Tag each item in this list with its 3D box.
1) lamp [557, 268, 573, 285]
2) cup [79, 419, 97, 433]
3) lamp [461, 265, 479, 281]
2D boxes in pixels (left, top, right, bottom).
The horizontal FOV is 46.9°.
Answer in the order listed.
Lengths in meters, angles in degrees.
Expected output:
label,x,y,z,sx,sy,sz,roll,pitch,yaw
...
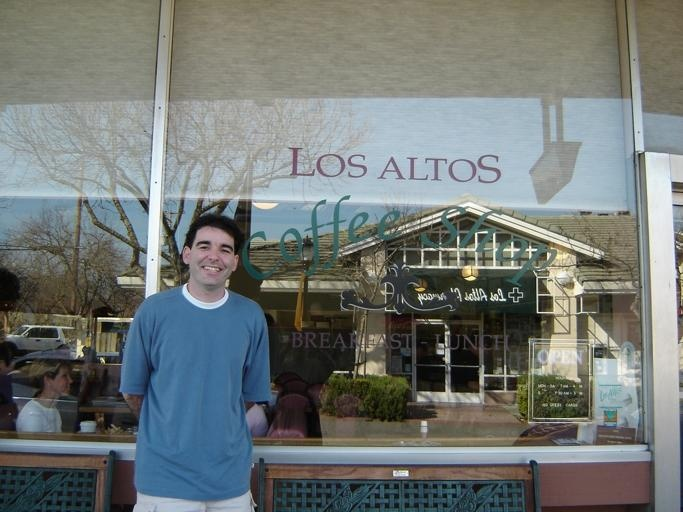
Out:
label,x,y,z,sx,sy,sz,roll,pitch,yaw
lamp,1.516,0.151,5.385,0.093,0.092,0.052,-20,4,14
cup,-1.668,1.129,5.205,0.089,0.064,0.089,5,-7,1
lamp,0.864,0.119,5.331,0.104,0.080,0.103,-5,-4,11
